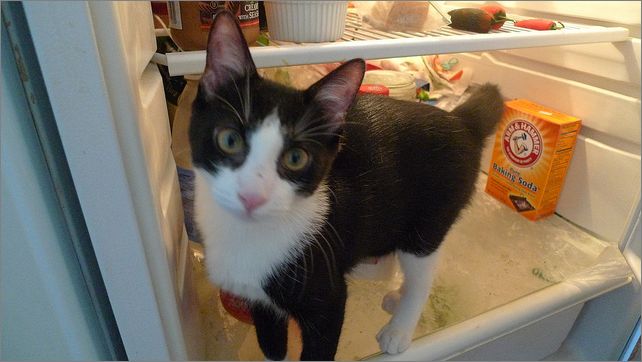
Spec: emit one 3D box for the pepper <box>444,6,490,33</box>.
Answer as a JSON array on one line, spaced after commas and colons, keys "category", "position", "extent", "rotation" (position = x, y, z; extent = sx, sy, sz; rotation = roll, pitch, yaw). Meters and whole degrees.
[{"category": "pepper", "position": [0.385, -0.415, 1.131], "extent": [0.118, 0.054, 0.053], "rotation": [14, 10, 26]}]
